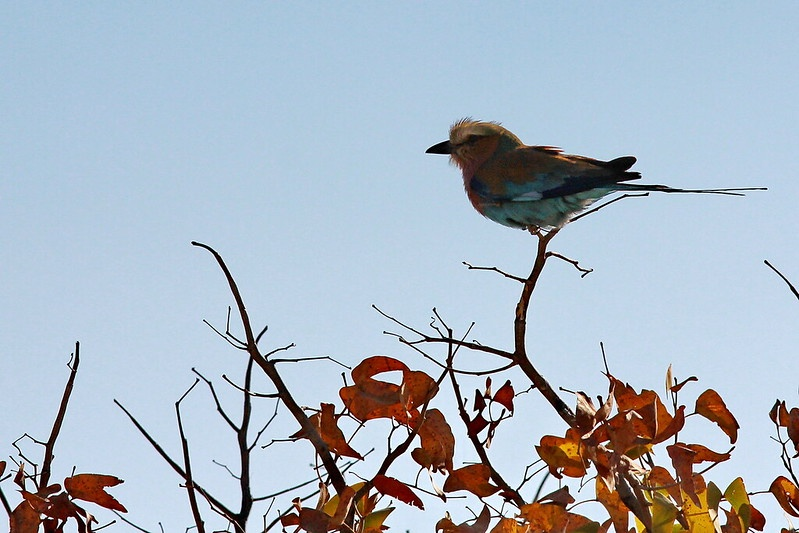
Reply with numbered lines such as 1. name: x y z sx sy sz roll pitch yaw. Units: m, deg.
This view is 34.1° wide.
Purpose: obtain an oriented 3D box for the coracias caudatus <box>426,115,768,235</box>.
1. coracias caudatus: 0.914 -0.397 6.358 1.573 0.686 0.419 -1 -7 21
